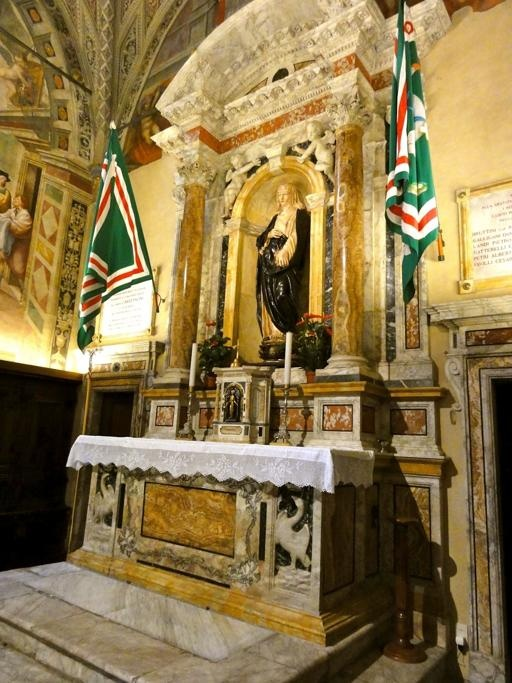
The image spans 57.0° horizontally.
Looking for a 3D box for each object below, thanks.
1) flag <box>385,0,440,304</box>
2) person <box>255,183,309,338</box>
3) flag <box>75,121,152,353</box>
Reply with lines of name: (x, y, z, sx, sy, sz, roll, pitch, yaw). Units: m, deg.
flag: (0.972, -1.392, 3.163, 0.333, 1.398, 0.438, -10, -7, 26)
person: (0.236, -0.744, 4.241, 0.565, 1.422, 0.389, -7, -6, -1)
flag: (-1.256, -0.954, 4.011, 0.623, 2.027, 0.321, -5, -7, -23)
